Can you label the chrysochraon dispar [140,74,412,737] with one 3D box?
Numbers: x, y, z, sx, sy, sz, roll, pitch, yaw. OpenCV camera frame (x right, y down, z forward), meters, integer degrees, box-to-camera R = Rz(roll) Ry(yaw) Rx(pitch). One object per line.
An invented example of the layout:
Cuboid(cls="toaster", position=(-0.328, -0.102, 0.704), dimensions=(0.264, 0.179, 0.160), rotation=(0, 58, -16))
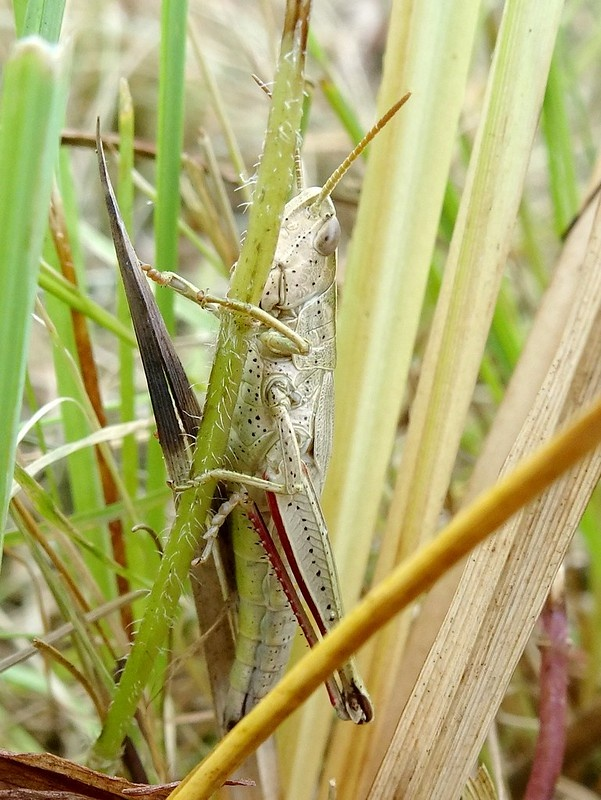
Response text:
Cuboid(cls="chrysochraon dispar", position=(-0.024, 0.014, 0.868), dimensions=(0.189, 0.540, 0.237), rotation=(2, 10, -13))
